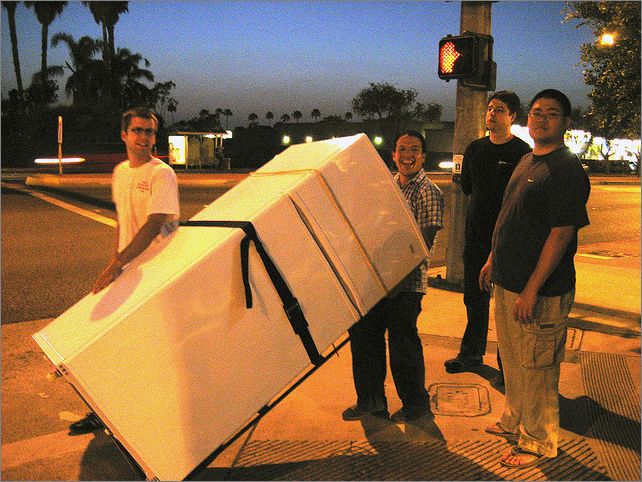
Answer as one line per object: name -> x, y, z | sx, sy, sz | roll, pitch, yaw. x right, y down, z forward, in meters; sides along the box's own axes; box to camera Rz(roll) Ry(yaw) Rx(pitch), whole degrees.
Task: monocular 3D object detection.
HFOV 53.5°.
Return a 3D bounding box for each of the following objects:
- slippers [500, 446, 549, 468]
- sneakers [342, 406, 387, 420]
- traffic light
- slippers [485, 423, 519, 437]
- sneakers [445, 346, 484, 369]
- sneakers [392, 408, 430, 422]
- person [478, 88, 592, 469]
slippers -> 1.360, 1.455, 4.289 | 0.238, 0.074, 0.124 | -4, 24, 2
sneakers -> 0.330, 1.310, 4.959 | 0.343, 0.166, 0.130 | 4, -3, -9
traffic light -> 1.684, -2.073, 7.329 | 0.641, 0.657, 0.330 | 1, 13, 10
slippers -> 1.297, 1.377, 4.579 | 0.217, 0.086, 0.083 | 12, 5, 39
sneakers -> 1.281, 1.035, 5.717 | 0.396, 0.196, 0.146 | -1, 1, -18
sneakers -> 0.666, 1.325, 4.802 | 0.291, 0.134, 0.111 | 1, 1, -3
person -> 1.477, 0.231, 4.355 | 0.587, 2.451, 0.773 | -1, 13, 2
